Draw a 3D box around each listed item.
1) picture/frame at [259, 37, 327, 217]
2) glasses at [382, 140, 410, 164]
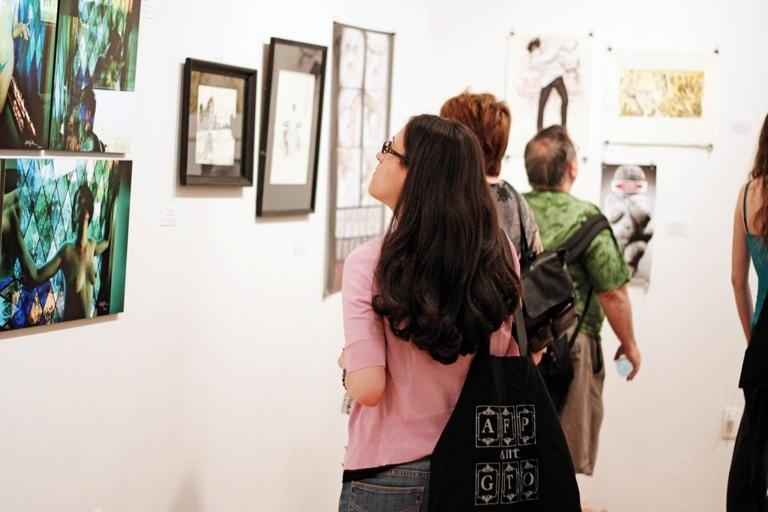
[{"bbox_3d":[-0.564,-0.742,3.517,0.101,1.028,0.438,12,11,40],"label":"picture/frame"},{"bbox_3d":[0.038,-0.362,2.162,0.097,0.030,0.081,28,5,-7],"label":"glasses"}]
